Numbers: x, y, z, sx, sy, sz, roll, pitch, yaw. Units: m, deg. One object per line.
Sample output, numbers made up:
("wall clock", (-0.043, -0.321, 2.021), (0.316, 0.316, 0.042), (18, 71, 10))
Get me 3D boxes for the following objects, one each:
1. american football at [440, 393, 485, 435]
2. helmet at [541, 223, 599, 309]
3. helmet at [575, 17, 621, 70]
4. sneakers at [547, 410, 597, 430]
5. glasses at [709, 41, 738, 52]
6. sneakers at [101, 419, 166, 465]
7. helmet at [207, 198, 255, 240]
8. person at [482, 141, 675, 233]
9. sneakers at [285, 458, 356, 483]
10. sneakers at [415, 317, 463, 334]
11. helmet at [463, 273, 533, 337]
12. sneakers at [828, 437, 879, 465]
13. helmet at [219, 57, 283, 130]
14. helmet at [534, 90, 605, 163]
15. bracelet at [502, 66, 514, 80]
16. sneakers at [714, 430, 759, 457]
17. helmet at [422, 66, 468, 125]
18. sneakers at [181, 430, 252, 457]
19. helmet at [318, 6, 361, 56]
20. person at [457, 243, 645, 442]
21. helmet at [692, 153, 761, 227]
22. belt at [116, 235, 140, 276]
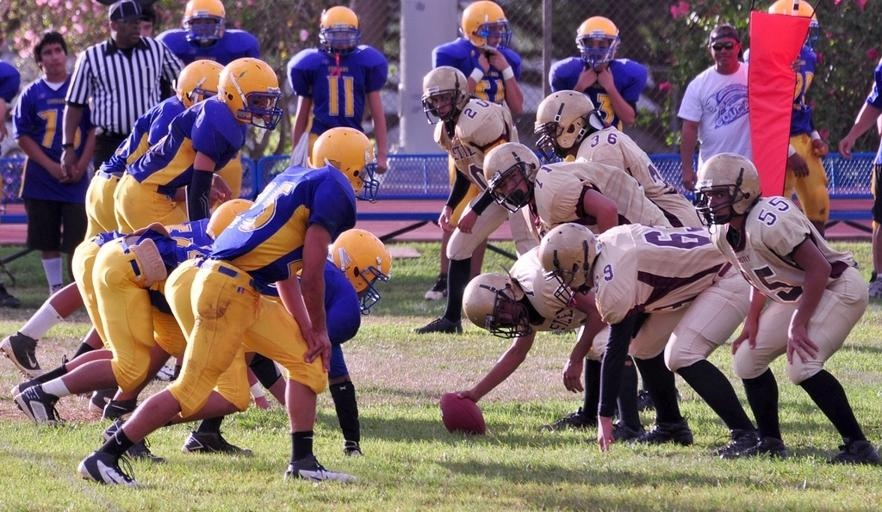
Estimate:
("american football", (0.149, 1.214, 9.260), (0.340, 0.204, 0.247), (27, 35, 13))
("helmet", (0.968, 0.051, 8.719), (0.425, 0.485, 0.366), (-44, 10, 5))
("helmet", (1.478, -2.007, 11.724), (0.425, 0.452, 0.504), (3, -1, 12))
("sneakers", (1.016, 1.275, 9.406), (0.408, 0.152, 0.136), (3, -9, -3))
("glasses", (2.598, -1.918, 11.287), (0.217, 0.088, 0.097), (1, 4, 12))
("sneakers", (-2.316, 1.326, 8.693), (0.185, 0.133, 0.406), (24, -41, -25))
("helmet", (-1.583, -0.276, 9.078), (0.340, 0.202, 0.274), (-25, -13, 21))
("person", (1.154, -0.498, 9.623), (1.676, 0.597, 0.877), (4, 16, -8))
("sneakers", (-0.857, 1.470, 8.464), (0.540, 0.207, 0.178), (2, -2, -1))
("sneakers", (-0.015, 0.675, 11.433), (0.483, 0.180, 0.158), (4, -4, -5))
("helmet", (0.468, 0.366, 9.340), (0.610, 0.530, 0.484), (-8, -1, -1))
("sneakers", (2.900, 1.389, 8.617), (0.305, 0.114, 0.162), (2, -5, -5))
("helmet", (-1.457, -1.269, 9.412), (0.552, 0.470, 0.429), (17, 14, 21))
("helmet", (1.027, -1.043, 9.967), (0.618, 0.575, 0.476), (-8, 9, 3))
("bracelet", (0.641, -1.761, 11.899), (0.120, 0.117, 0.117), (0, 5, 13))
("sneakers", (2.072, 1.371, 8.850), (0.407, 0.184, 0.133), (-5, 2, -7))
("helmet", (0.020, -1.380, 10.728), (0.463, 0.463, 0.433), (-10, -3, -25))
("sneakers", (-1.577, 1.376, 8.888), (0.574, 0.204, 0.185), (3, -3, -7))
("helmet", (-0.999, -2.171, 11.875), (0.374, 0.365, 0.456), (-1, 9, -8))
("person", (0.939, 0.720, 9.431), (1.610, 1.423, 1.029), (-6, -1, -4))
("helmet", (2.056, -0.503, 8.793), (0.530, 0.448, 0.413), (-14, 12, -35))
("belt", (-2.259, 0.010, 8.871), (0.092, 0.261, 0.200), (-7, 4, -21))
